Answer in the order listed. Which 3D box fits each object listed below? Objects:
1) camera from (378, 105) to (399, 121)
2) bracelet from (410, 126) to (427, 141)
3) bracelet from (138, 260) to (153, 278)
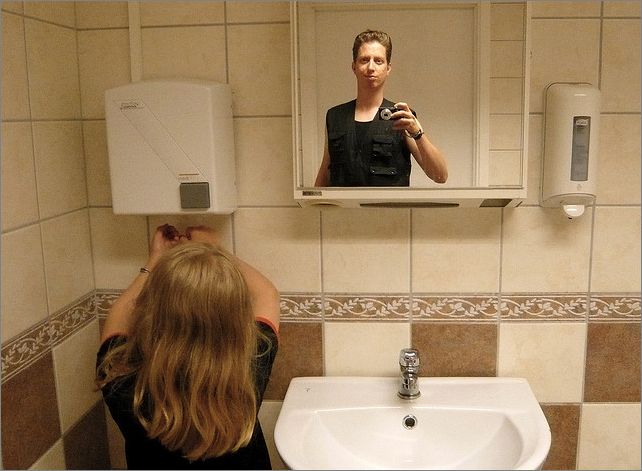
[{"bbox_3d":[0.202,-0.367,1.965,0.054,0.038,0.017,2,11,7],"label":"camera"},{"bbox_3d":[0.297,-0.307,1.962,0.033,0.040,0.016,-10,-1,8],"label":"bracelet"},{"bbox_3d":[-0.535,0.104,2.006,0.057,0.027,0.069,-2,15,3],"label":"bracelet"}]
